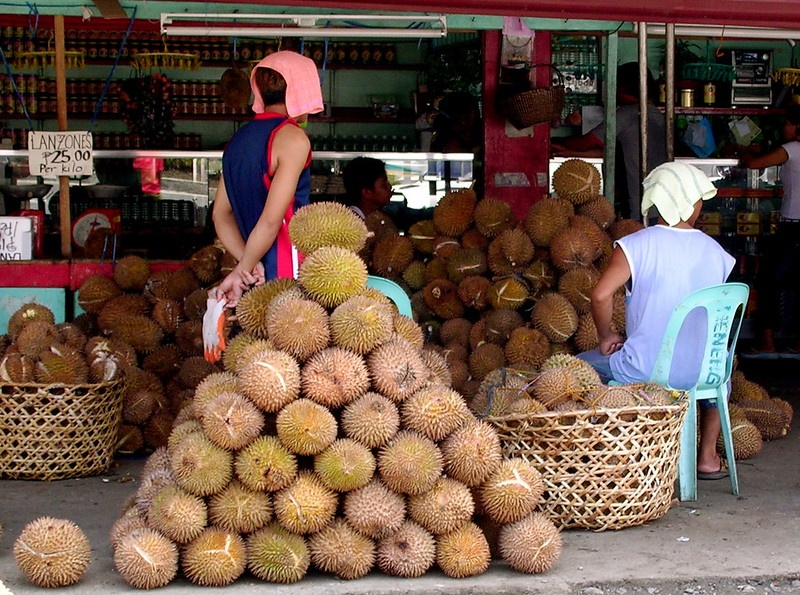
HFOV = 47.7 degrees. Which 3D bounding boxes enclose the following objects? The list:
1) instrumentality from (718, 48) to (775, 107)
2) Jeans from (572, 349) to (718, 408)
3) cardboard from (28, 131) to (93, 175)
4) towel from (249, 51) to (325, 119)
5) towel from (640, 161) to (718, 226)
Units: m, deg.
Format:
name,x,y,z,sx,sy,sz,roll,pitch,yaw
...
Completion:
name,x,y,z,sx,sy,sz,roll,pitch,yaw
instrumentality,3.640,-2.274,9.388,0.381,0.617,0.624,-3,12,16
Jeans,1.226,0.378,4.562,0.493,0.439,0.381,-3,4,-14
cardboard,-2.161,-0.922,5.743,0.281,0.199,0.038,0,-2,0
towel,-0.451,-0.985,4.181,0.264,0.281,0.345,17,38,38
towel,1.377,-0.526,4.487,0.322,0.245,0.326,-8,18,8
